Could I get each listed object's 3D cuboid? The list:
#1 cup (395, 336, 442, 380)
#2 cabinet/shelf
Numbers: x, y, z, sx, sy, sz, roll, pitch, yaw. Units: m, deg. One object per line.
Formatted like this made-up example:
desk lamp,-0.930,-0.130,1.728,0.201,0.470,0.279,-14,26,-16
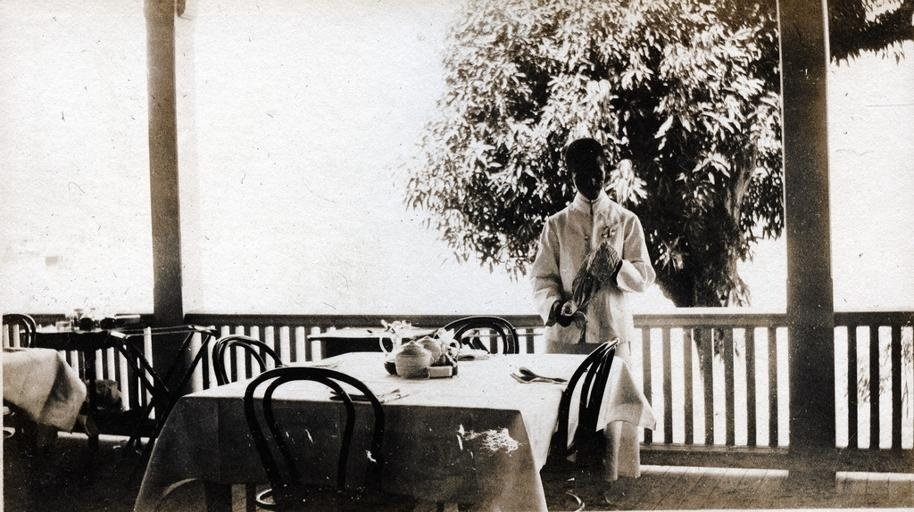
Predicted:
cup,-0.316,0.823,8.259,0.307,0.263,0.302,0,-6,0
cabinet/shelf,-3.389,1.169,9.458,1.176,0.847,1.163,3,9,1
